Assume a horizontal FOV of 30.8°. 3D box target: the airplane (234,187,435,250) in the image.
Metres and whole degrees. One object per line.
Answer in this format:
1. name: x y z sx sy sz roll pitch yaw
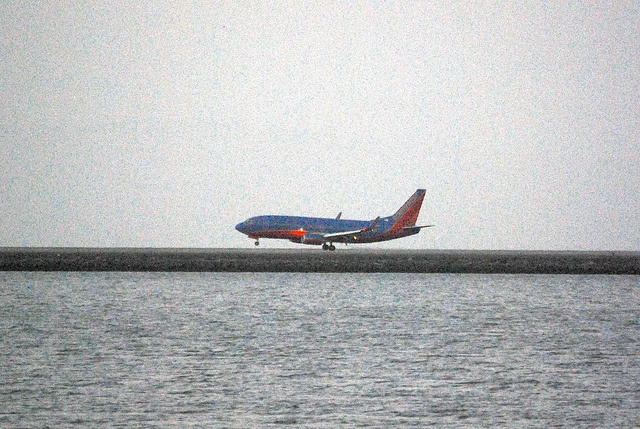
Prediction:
1. airplane: 2.312 0.997 147.444 23.153 6.106 7.822 0 0 -40
